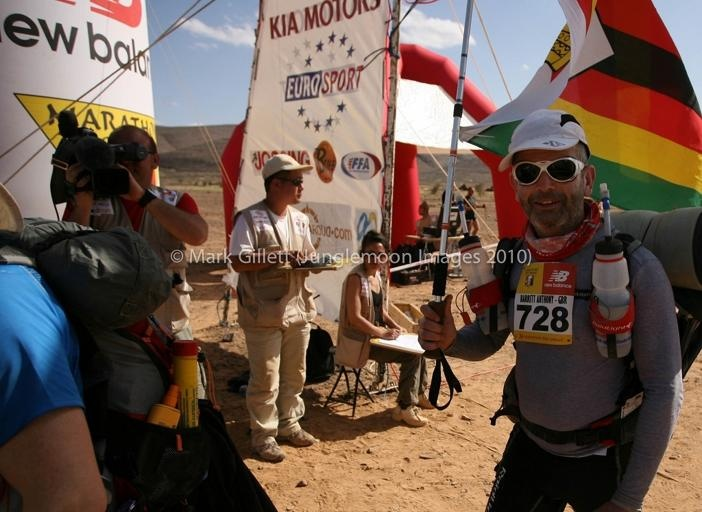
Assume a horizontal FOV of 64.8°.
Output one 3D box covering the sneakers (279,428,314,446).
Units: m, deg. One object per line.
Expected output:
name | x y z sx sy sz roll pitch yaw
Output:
sneakers | -0.531 1.748 5.407 0.300 0.139 0.160 1 3 12

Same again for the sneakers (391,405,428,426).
sneakers | 0.624 1.709 5.959 0.370 0.188 0.164 3 7 8

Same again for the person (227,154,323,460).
person | -0.668 0.488 5.045 0.597 2.769 0.867 6 10 31

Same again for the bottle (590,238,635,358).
bottle | 1.163 0.183 2.468 0.180 0.547 0.113 3 9 16

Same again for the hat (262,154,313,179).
hat | -0.579 -0.809 4.941 0.422 0.194 0.304 -9 13 -2

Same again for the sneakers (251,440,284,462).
sneakers | -0.759 1.761 5.041 0.279 0.127 0.148 -3 -4 38
